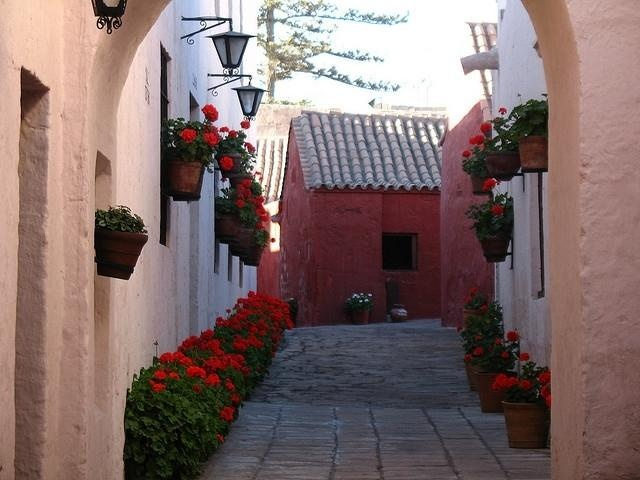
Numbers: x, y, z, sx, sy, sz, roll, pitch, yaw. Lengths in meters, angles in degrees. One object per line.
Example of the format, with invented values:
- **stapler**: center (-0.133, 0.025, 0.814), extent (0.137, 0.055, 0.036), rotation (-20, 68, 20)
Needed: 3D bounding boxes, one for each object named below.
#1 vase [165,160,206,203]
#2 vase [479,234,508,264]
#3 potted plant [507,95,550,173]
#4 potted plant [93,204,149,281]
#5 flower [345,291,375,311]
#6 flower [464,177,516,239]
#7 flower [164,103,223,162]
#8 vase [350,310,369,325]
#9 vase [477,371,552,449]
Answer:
- **vase**: center (-1.253, -0.532, 9.257), extent (0.343, 0.304, 0.354), rotation (1, -4, -11)
- **vase**: center (1.918, 0.107, 11.051), extent (0.288, 0.213, 0.288), rotation (1, -12, -3)
- **potted plant**: center (1.760, -0.895, 8.401), extent (0.303, 0.617, 0.516), rotation (-1, -3, 10)
- **potted plant**: center (-1.342, 0.042, 6.896), extent (0.441, 0.486, 0.489), rotation (-4, -10, 31)
- **flower**: center (0.809, 1.277, 20.215), extent (0.389, 0.278, 0.399), rotation (-3, 1, 3)
- **flower**: center (1.799, -0.313, 11.290), extent (0.631, 0.835, 0.668), rotation (-3, -5, 28)
- **flower**: center (-1.137, -0.965, 9.344), extent (0.580, 0.519, 0.571), rotation (-1, 3, -36)
- **vase**: center (0.821, 1.583, 20.169), extent (0.315, 0.283, 0.296), rotation (0, -3, -4)
- **vase**: center (1.729, 1.529, 8.825), extent (0.605, 0.455, 0.603), rotation (2, -7, -5)
